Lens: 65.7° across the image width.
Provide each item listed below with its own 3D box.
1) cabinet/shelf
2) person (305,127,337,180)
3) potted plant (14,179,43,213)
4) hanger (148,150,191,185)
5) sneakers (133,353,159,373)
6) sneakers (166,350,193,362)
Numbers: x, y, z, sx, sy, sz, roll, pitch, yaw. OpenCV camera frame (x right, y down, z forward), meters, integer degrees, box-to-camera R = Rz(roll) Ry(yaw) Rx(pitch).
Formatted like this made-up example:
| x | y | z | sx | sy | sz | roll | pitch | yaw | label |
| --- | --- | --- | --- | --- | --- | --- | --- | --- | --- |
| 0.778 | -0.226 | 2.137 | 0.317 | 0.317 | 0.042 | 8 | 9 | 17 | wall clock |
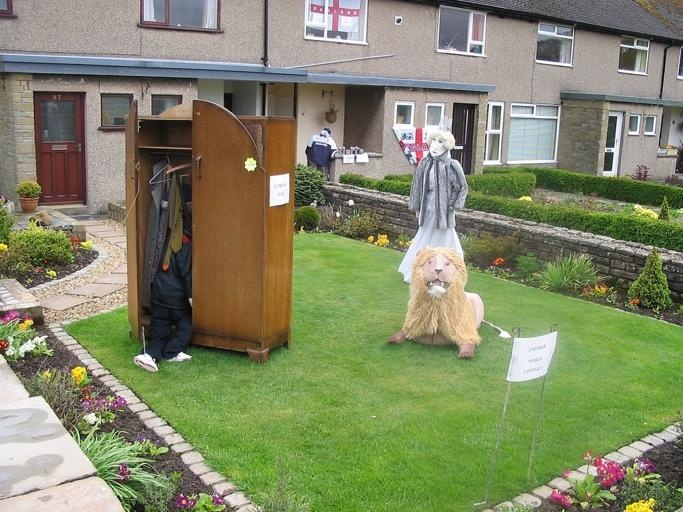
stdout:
| x | y | z | sx | sy | sz | roll | pitch | yaw | label |
| --- | --- | --- | --- | --- | --- | --- | --- | --- | --- |
| -1.488 | -0.296 | 5.996 | 1.810 | 2.837 | 0.963 | 3 | 9 | 2 | cabinet/shelf |
| -0.667 | -3.219 | 16.560 | 0.925 | 1.574 | 0.612 | 2 | 9 | -3 | person |
| -7.344 | -1.425 | 12.547 | 0.643 | 0.827 | 0.688 | 5 | 8 | 17 | potted plant |
| -1.969 | -1.042 | 6.047 | 0.369 | 0.163 | 0.519 | -2 | 20 | -7 | hanger |
| -2.065 | 1.118 | 5.614 | 0.257 | 0.148 | 0.118 | 37 | 40 | 8 | sneakers |
| -1.800 | 1.109 | 5.844 | 0.269 | 0.085 | 0.120 | -1 | 10 | -21 | sneakers |
